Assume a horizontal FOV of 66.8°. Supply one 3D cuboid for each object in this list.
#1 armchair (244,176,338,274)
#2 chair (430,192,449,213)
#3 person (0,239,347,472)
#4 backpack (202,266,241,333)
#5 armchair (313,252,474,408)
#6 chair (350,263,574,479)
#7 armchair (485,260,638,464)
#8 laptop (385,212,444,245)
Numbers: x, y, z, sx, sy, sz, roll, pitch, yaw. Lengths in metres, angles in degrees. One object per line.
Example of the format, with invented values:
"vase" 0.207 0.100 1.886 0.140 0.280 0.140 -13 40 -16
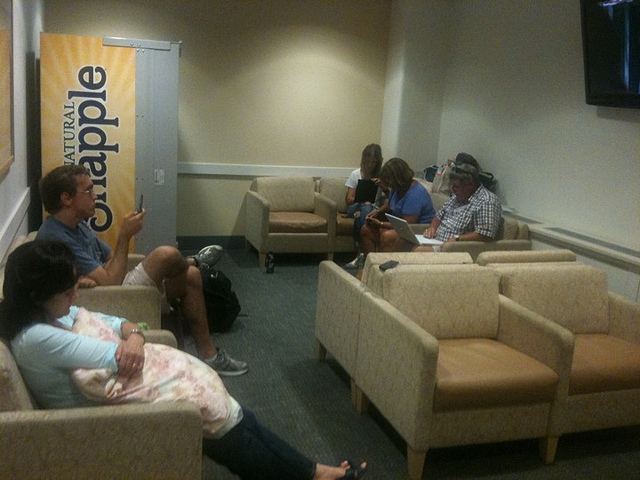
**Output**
"armchair" -0.407 -0.259 6.060 1.033 1.213 1.184 -1 8 -16
"chair" 1.329 -0.427 5.498 0.181 0.168 0.184 1 9 -9
"person" -0.574 0.517 2.151 1.412 0.861 0.696 10 7 -17
"backpack" -0.831 0.506 4.035 0.288 0.480 0.285 -2 15 -15
"armchair" 0.434 0.462 3.674 1.058 0.995 1.003 0 15 -21
"chair" 0.714 0.583 3.117 1.094 1.210 1.186 0 4 -13
"armchair" 1.539 0.636 3.281 1.029 1.091 0.891 1 11 -20
"laptop" 0.903 -0.083 4.690 0.334 0.231 0.369 -5 10 -21
